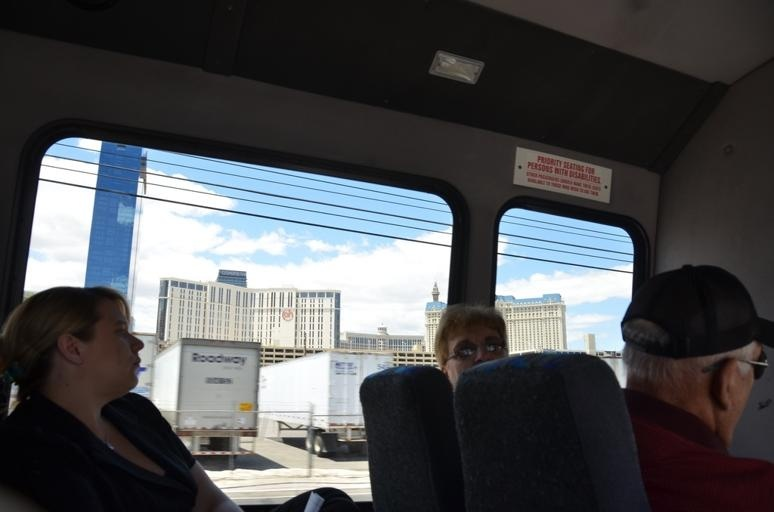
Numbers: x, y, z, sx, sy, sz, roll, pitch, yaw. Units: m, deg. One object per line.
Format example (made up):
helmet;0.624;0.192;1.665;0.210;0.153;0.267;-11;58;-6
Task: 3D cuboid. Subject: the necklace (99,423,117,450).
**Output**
necklace;-1.341;0.864;2.803;0.033;0.128;0.074;-31;11;-38

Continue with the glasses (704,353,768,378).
glasses;1.208;0.368;2.006;0.178;0.057;0.130;2;-17;13

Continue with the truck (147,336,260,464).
truck;-3.432;2.962;11.322;1.362;2.006;3.832;6;-19;-20

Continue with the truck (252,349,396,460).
truck;-1.945;2.778;11.425;1.309;1.692;4.342;16;-19;-41
